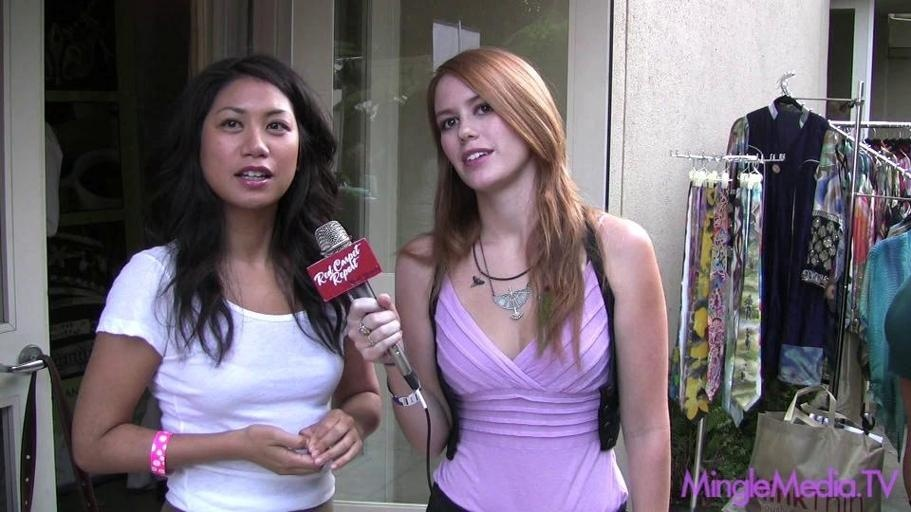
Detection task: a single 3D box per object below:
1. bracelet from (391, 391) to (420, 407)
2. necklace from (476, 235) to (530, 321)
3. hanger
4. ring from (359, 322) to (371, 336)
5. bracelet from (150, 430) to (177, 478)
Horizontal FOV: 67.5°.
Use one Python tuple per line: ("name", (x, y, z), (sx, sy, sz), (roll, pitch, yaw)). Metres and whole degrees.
("bracelet", (-0.233, 0.664, 3.155), (0.129, 0.060, 0.097), (-3, 2, 45))
("necklace", (0.228, 0.120, 3.200), (0.304, 0.422, 0.041), (-14, -21, 7))
("hanger", (2.896, -0.703, 5.026), (0.944, 1.373, 0.588), (0, -7, 33))
("ring", (-0.393, 0.316, 2.927), (0.022, 0.059, 0.042), (-38, -3, -11))
("bracelet", (-1.315, 0.885, 3.019), (0.090, 0.216, 0.111), (-3, 0, -33))
